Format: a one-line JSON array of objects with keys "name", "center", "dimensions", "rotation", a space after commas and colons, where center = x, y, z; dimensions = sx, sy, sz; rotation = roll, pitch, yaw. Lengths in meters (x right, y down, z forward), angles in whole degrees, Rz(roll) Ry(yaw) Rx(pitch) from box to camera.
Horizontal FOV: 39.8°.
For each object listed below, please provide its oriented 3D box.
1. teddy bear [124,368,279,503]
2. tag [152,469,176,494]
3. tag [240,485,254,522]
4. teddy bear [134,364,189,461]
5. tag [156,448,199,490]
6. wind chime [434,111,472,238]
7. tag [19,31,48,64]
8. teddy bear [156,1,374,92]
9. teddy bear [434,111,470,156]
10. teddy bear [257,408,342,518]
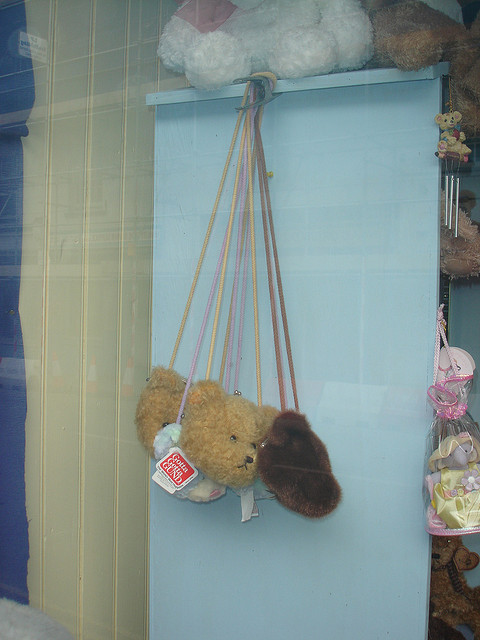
[{"name": "teddy bear", "center": [-0.055, 0.190, 1.078], "dimensions": [0.240, 0.211, 0.163], "rotation": [2, 3, 45]}, {"name": "tag", "center": [-0.120, 0.253, 1.040], "dimensions": [0.010, 0.036, 0.038], "rotation": [-45, 20, -23]}, {"name": "tag", "center": [0.012, 0.298, 1.072], "dimensions": [0.022, 0.071, 0.062], "rotation": [0, 2, 2]}, {"name": "teddy bear", "center": [-0.127, 0.155, 1.108], "dimensions": [0.065, 0.139, 0.112], "rotation": [12, -24, -26]}, {"name": "tag", "center": [-0.093, 0.233, 1.084], "dimensions": [0.078, 0.051, 0.077], "rotation": [4, 12, 23]}, {"name": "wind chime", "center": [0.315, -0.227, 1.038], "dimensions": [0.047, 0.170, 0.070], "rotation": [6, 15, 12]}, {"name": "tag", "center": [-0.361, -0.476, 1.155], "dimensions": [0.063, 0.056, 0.003], "rotation": [6, -23, -32]}, {"name": "teddy bear", "center": [0.035, -0.480, 1.097], "dimensions": [0.374, 0.154, 0.042], "rotation": [1, 2, 20]}, {"name": "teddy bear", "center": [0.327, -0.288, 1.020], "dimensions": [0.047, 0.063, 0.051], "rotation": [-2, 15, -13]}, {"name": "teddy bear", "center": [0.087, 0.221, 1.084], "dimensions": [0.144, 0.151, 0.149], "rotation": [1, 12, -9]}]
